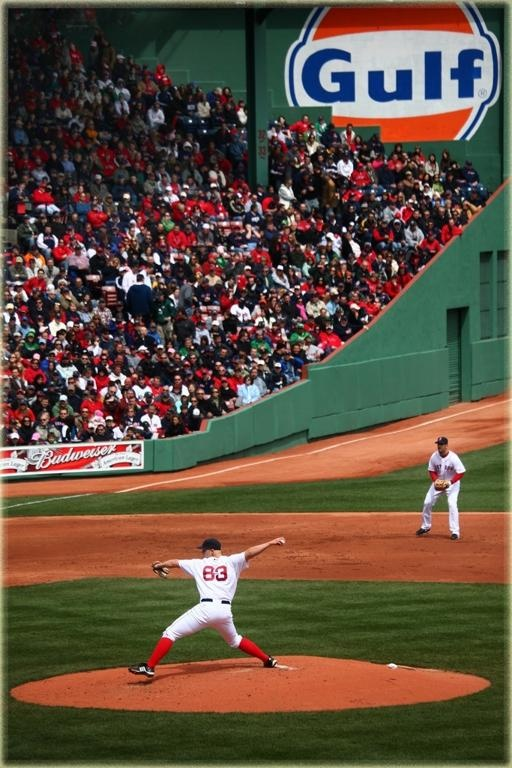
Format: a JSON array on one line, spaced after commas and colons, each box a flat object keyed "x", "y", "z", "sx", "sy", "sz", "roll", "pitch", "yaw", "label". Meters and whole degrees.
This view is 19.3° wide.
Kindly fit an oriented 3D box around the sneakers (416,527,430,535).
[{"x": 2.702, "y": 2.327, "z": 24.026, "sx": 0.093, "sy": 0.141, "sz": 0.295, "roll": -1, "pitch": -5, "yaw": 29, "label": "sneakers"}]

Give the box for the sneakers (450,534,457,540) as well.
[{"x": 3.100, "y": 2.364, "z": 23.543, "sx": 0.073, "sy": 0.095, "sz": 0.218, "roll": 0, "pitch": -7, "yaw": 7, "label": "sneakers"}]

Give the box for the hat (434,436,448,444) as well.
[{"x": 3.127, "y": 0.930, "z": 25.372, "sx": 0.184, "sy": 0.162, "sz": 0.284, "roll": 0, "pitch": -10, "yaw": 30, "label": "hat"}]
